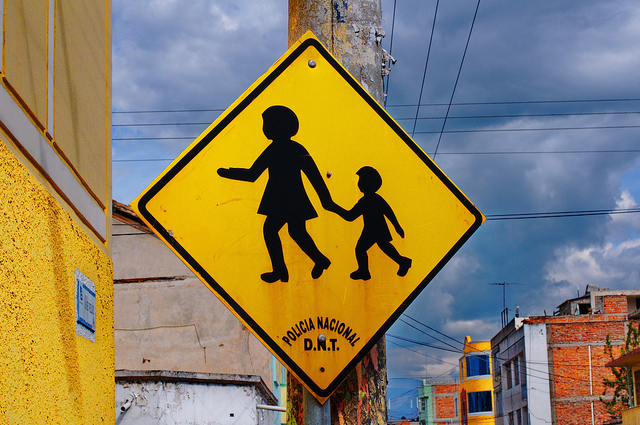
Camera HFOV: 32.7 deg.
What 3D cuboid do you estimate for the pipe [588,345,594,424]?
[{"bbox_3d":[10.833,6.813,43.382,0.154,3.134,0.526,-5,-11,15],"label":"pipe"}]

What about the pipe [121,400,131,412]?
[{"bbox_3d":[-4.036,4.043,22.807,0.120,0.201,0.231,-6,-12,16],"label":"pipe"}]
